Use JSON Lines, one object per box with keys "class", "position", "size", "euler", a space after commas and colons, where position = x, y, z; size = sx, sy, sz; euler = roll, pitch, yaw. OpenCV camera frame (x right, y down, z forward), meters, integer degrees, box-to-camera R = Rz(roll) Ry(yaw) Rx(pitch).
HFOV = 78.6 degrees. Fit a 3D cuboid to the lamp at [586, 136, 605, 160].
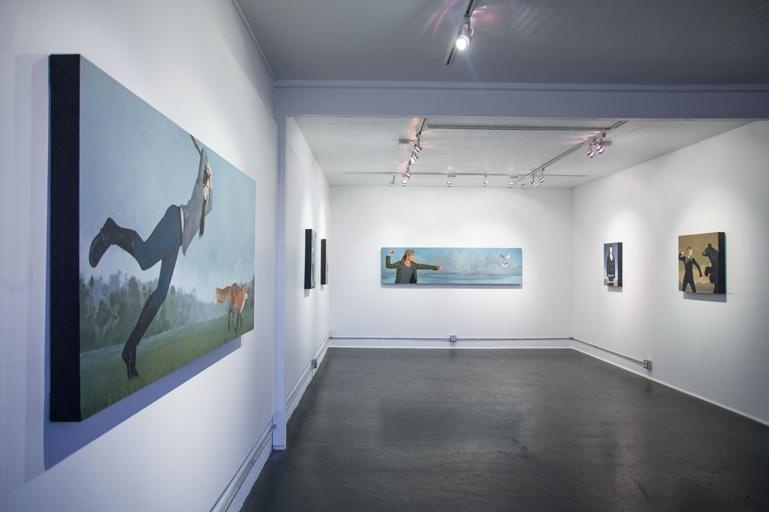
{"class": "lamp", "position": [3.135, -1.629, 6.986], "size": [0.200, 0.553, 0.285], "euler": [-3, -3, 15]}
